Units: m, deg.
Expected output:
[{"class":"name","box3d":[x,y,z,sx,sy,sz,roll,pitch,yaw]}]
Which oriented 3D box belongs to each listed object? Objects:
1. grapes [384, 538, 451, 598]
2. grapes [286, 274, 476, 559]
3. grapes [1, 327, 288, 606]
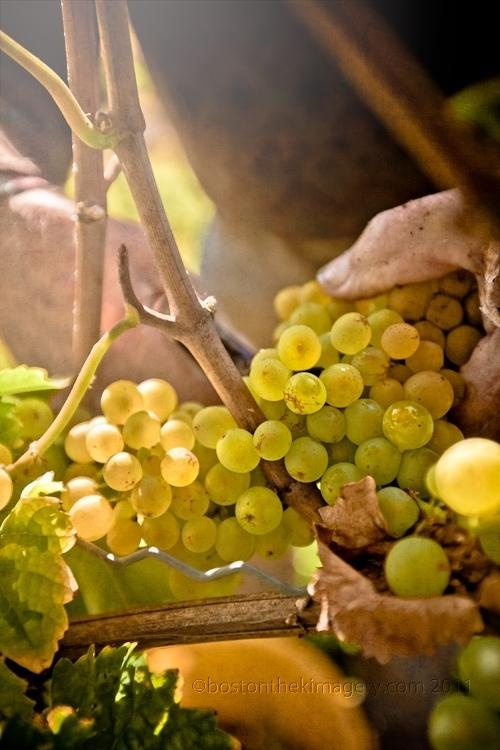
[{"class":"grapes","box3d":[0.121,0.142,0.585,0.047,0.047,0.021,-20,-2,2]},{"class":"grapes","box3d":[0.104,0.020,0.663,0.136,0.230,0.112,-4,7,0]},{"class":"grapes","box3d":[-0.108,0.086,0.700,0.223,0.257,0.125,-20,-2,-3]}]
